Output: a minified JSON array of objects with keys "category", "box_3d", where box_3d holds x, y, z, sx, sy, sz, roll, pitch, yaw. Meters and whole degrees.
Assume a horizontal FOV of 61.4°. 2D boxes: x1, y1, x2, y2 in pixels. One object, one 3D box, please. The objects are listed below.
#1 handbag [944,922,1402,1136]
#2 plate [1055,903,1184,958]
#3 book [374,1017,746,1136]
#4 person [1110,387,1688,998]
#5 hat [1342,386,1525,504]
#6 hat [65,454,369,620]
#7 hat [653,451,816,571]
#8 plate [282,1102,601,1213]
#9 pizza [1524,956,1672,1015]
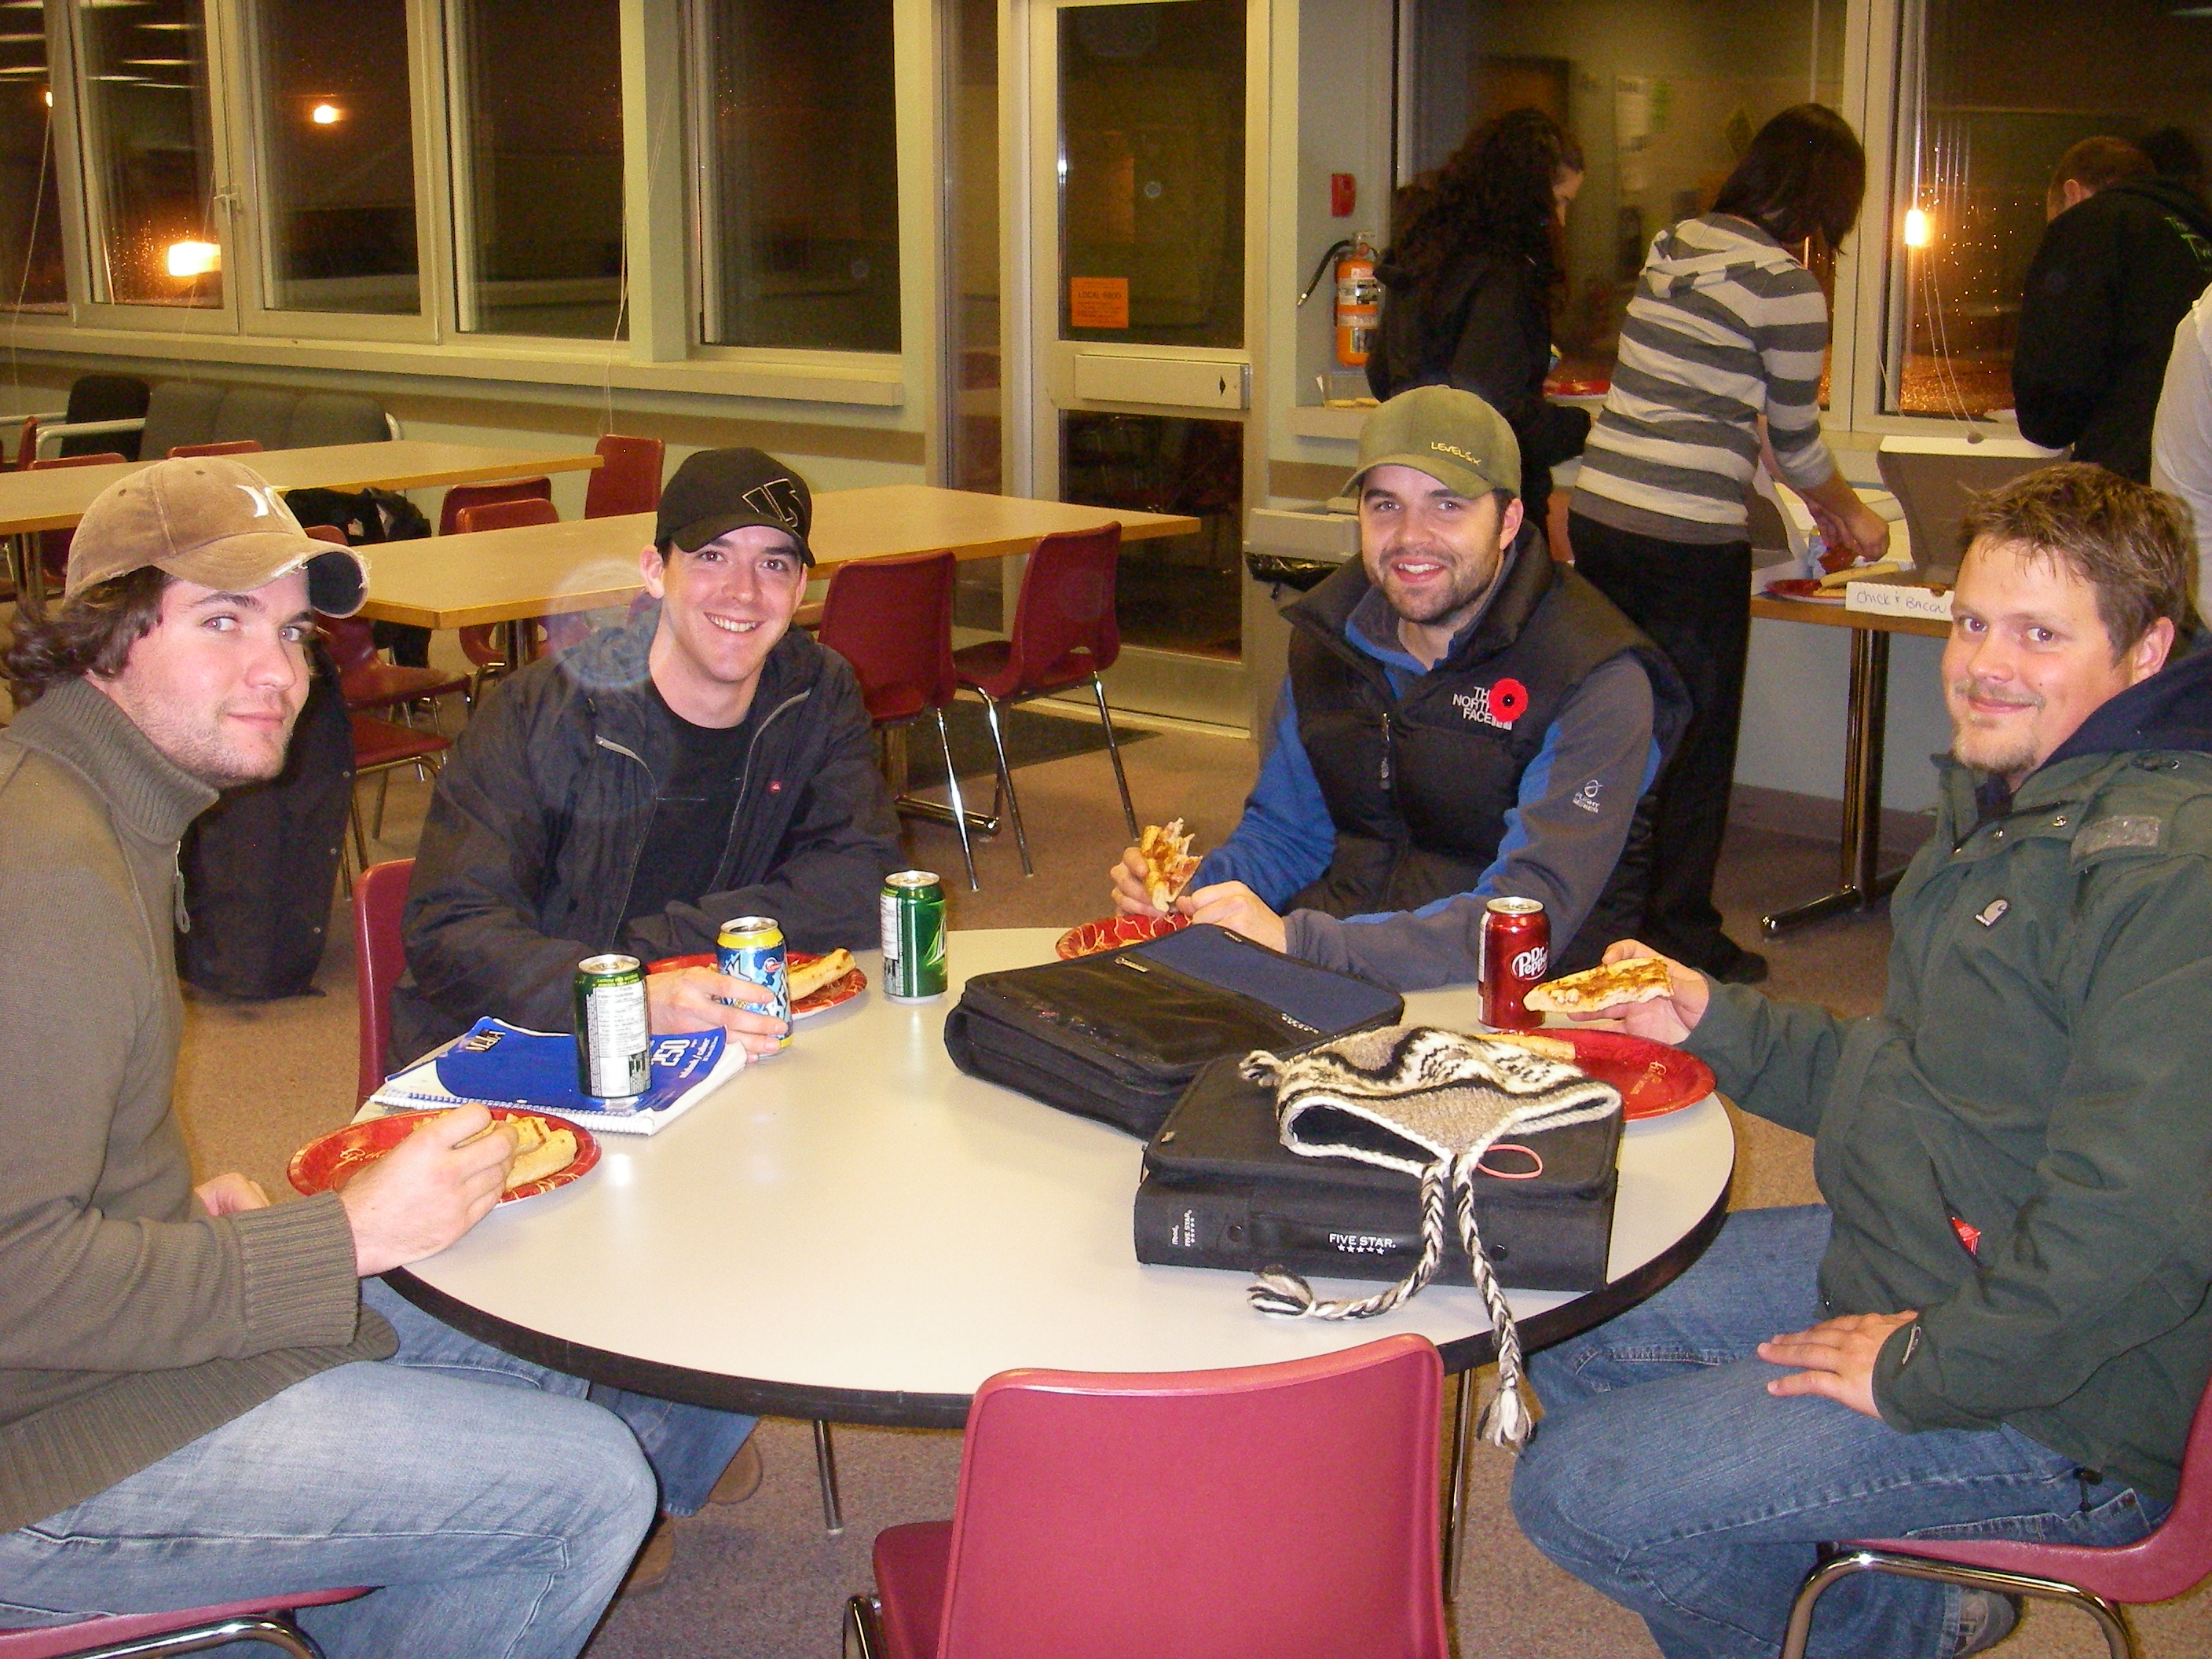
[{"category":"handbag","box_3d":[0.079,0.200,2.127,0.284,0.090,0.276,-14,21,-35]},{"category":"plate","box_3d":[0.018,0.137,2.522,0.087,0.019,0.085,-12,18,-31]},{"category":"book","box_3d":[-0.613,0.278,2.097,0.182,0.026,0.195,3,16,10]},{"category":"person","box_3d":[0.462,-0.151,2.885,0.767,1.029,0.906,12,16,41]},{"category":"hat","box_3d":[0.506,-0.605,2.907,0.287,0.190,0.391,9,8,22]},{"category":"hat","box_3d":[-0.979,-0.314,2.043,0.325,0.168,0.221,-2,1,17]},{"category":"hat","box_3d":[-0.535,-0.490,2.759,0.227,0.149,0.301,2,4,-22]},{"category":"plate","box_3d":[-0.679,0.333,1.949,0.164,0.023,0.162,11,15,26]},{"category":"pizza","box_3d":[0.587,0.183,2.215,0.123,0.020,0.080,-15,24,-4]}]
